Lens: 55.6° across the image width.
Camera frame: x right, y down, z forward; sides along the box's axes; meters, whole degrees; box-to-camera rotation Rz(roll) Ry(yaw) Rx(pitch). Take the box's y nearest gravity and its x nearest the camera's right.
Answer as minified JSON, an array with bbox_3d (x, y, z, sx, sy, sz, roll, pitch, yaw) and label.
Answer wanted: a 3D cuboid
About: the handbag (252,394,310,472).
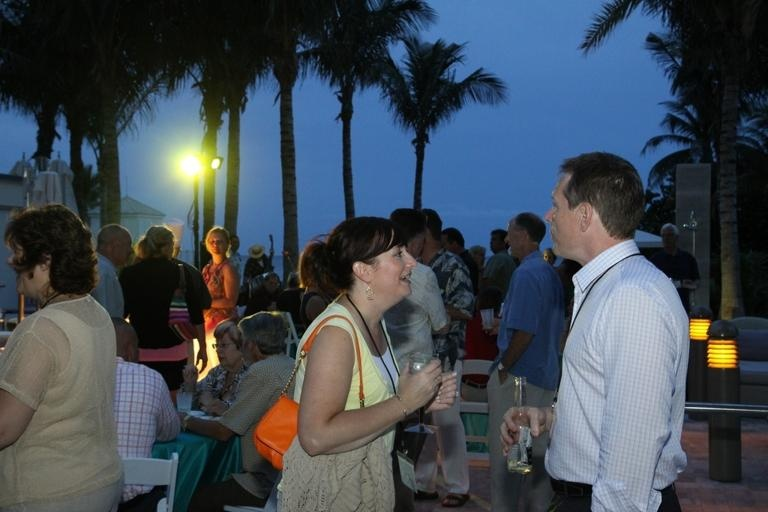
[{"bbox_3d":[-0.623,1.025,4.357,0.305,0.406,0.157,36,1,5],"label":"handbag"}]
